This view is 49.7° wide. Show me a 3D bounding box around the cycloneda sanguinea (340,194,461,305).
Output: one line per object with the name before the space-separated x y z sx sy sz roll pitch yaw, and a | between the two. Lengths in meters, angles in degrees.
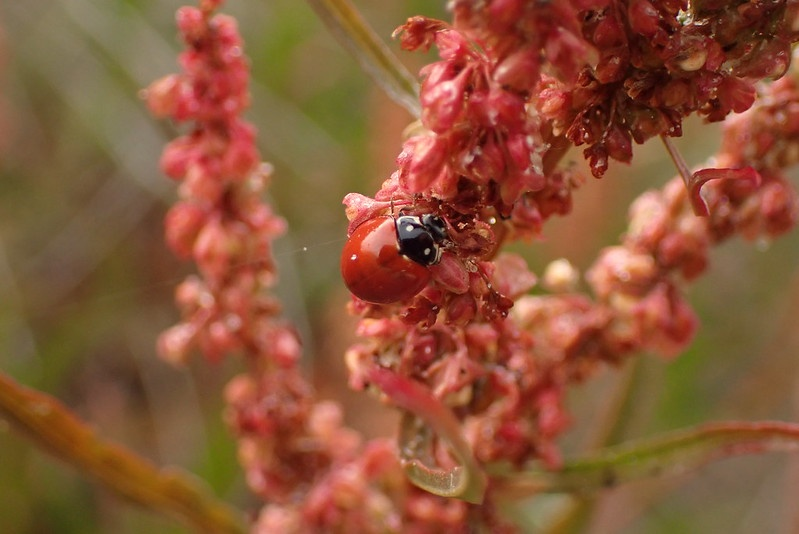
cycloneda sanguinea | 0.002 -0.020 0.919 0.145 0.106 0.052 -4 35 35
